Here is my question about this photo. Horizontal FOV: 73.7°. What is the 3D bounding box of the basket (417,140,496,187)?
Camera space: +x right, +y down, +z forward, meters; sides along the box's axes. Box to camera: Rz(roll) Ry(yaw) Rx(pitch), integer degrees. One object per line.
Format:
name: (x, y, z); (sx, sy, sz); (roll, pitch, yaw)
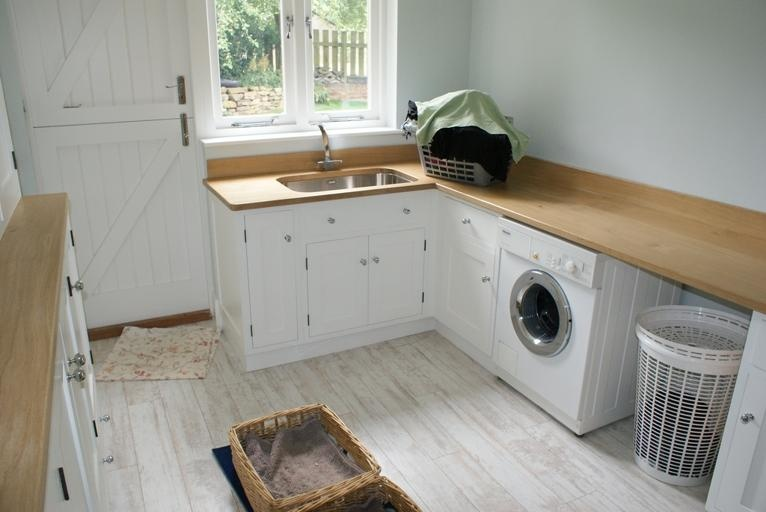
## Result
basket: (0.520, -0.655, 3.556); (0.424, 0.207, 0.289); (21, 35, 30)

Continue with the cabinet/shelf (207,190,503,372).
cabinet/shelf: (-0.213, 0.132, 3.430); (1.371, 0.903, 1.395); (-9, 21, -24)

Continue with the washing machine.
washing machine: (0.940, 0.484, 2.882); (0.468, 0.961, 0.647); (-12, 27, -28)

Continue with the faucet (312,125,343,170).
faucet: (-0.412, -0.791, 3.794); (0.233, 0.448, 0.225); (-6, 41, -11)
